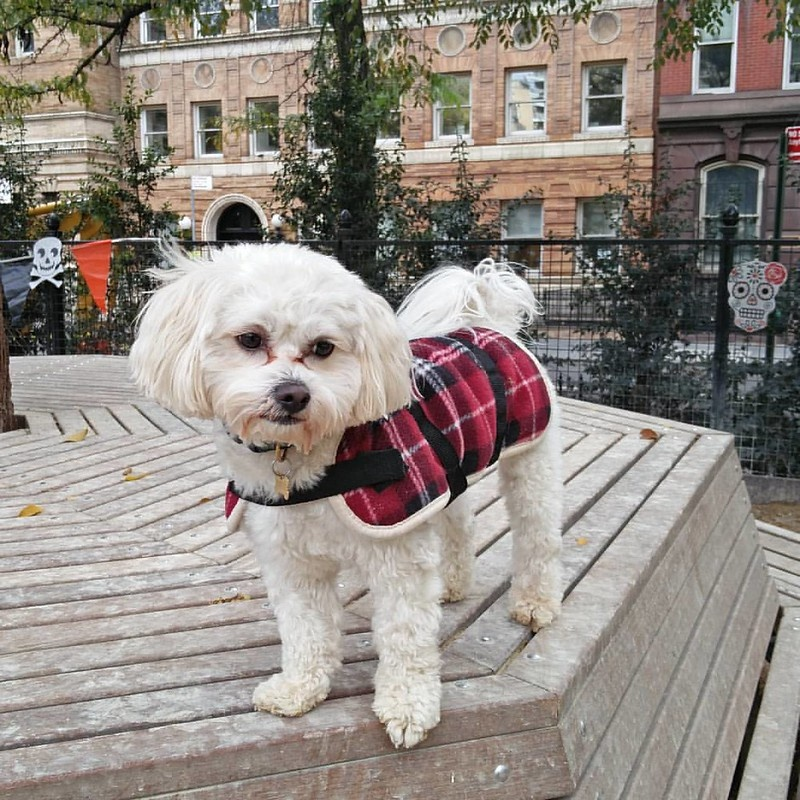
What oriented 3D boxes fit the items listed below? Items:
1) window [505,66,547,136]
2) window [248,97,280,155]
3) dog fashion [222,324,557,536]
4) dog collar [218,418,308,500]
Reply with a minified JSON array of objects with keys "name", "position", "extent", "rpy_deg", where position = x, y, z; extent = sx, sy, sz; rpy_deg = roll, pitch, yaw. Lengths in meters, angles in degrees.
[{"name":"window","position":[2.703,-6.170,20.446],"extent":[1.001,1.325,0.109],"rpy_deg":[-7,22,-14]},{"name":"window","position":[-2.936,-6.008,21.661],"extent":[0.880,1.386,0.125],"rpy_deg":[0,5,15]},{"name":"dog fashion","position":[0.025,0.030,2.817],"extent":[0.580,0.309,0.862],"rpy_deg":[-4,15,34]},{"name":"dog collar","position":[-0.363,0.150,2.536],"extent":[0.140,0.172,0.177],"rpy_deg":[-1,-7,32]}]
